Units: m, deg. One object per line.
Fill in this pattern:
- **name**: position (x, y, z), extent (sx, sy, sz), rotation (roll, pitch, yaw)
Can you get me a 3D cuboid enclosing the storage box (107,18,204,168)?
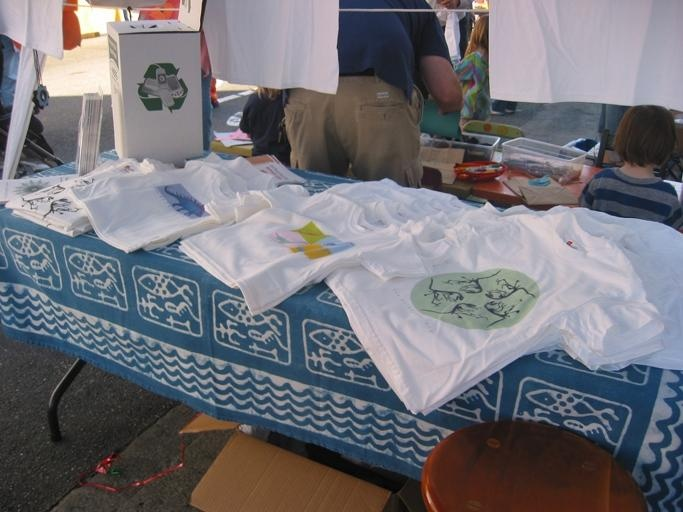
- **storage box**: position (-0.857, -0.734, 2.630), extent (0.380, 0.596, 0.375), rotation (18, 26, 34)
